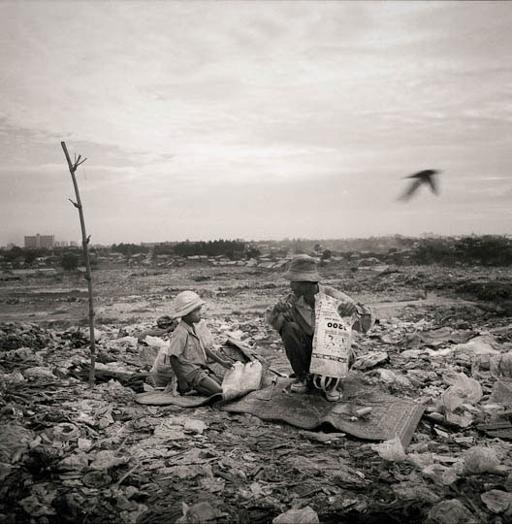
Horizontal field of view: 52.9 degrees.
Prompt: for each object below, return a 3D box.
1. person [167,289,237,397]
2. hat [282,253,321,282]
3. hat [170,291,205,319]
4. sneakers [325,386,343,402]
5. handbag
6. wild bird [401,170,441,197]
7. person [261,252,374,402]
[{"bbox_3d":[-0.509,0.723,4.952,0.601,0.910,0.882,2,8,-2],"label":"person"},{"bbox_3d":[0.459,0.049,4.680,0.249,0.169,0.265,-1,-5,8],"label":"hat"},{"bbox_3d":[-0.613,0.393,4.803,0.291,0.225,0.264,2,8,-7],"label":"hat"},{"bbox_3d":[0.719,1.156,4.520,0.155,0.116,0.090,2,8,-3],"label":"sneakers"},{"bbox_3d":[0.697,0.650,4.466,0.370,0.712,0.291,4,9,9],"label":"handbag"},{"bbox_3d":[1.865,-0.852,5.616,0.360,0.299,0.170,3,9,4],"label":"wild bird"},{"bbox_3d":[0.595,0.603,4.709,0.967,1.243,0.851,-3,-1,26],"label":"person"}]
